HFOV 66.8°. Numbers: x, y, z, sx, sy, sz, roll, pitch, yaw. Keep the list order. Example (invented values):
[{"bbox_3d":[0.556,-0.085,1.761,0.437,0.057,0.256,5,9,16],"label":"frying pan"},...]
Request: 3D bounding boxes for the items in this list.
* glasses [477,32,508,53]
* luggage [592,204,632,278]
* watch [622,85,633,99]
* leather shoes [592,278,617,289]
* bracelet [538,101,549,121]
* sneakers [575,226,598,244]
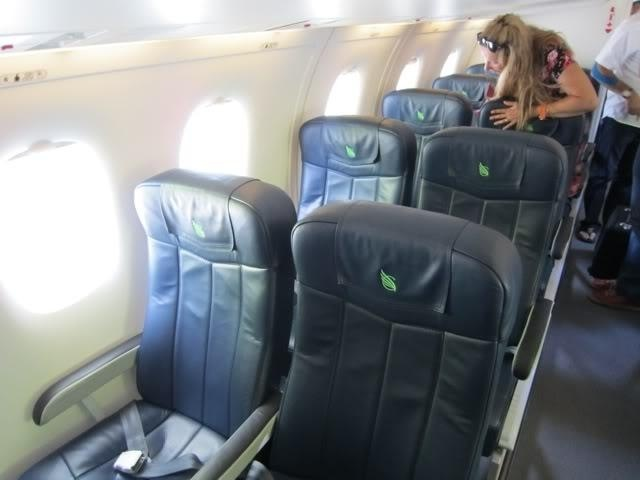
[{"bbox_3d":[0.991,-1.138,2.808,0.128,0.045,0.131,0,27,-26],"label":"glasses"},{"bbox_3d":[2.074,0.012,3.431,0.234,0.477,0.404,15,23,25],"label":"luggage"},{"bbox_3d":[2.234,-1.079,3.518,0.019,0.085,0.079,-10,39,-42],"label":"watch"},{"bbox_3d":[2.038,0.305,3.476,0.066,0.057,0.153,15,-8,-38],"label":"leather shoes"},{"bbox_3d":[1.283,-0.758,2.818,0.053,0.076,0.070,12,8,12],"label":"bracelet"},{"bbox_3d":[2.303,-0.052,4.185,0.119,0.052,0.159,8,60,45],"label":"sneakers"}]
